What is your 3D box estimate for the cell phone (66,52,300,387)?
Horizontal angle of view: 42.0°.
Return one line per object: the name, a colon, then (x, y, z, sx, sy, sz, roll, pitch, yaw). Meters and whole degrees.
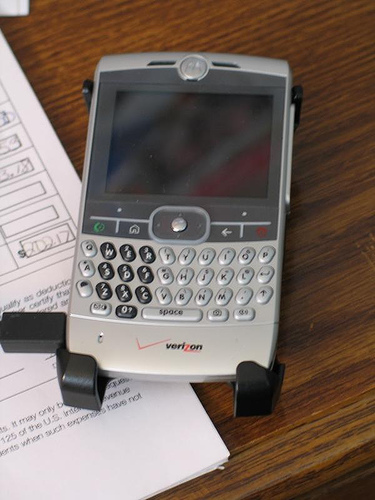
cell phone: (-0.006, -0.030, 0.307, 0.175, 0.070, 0.239, 0, 77, 2)
